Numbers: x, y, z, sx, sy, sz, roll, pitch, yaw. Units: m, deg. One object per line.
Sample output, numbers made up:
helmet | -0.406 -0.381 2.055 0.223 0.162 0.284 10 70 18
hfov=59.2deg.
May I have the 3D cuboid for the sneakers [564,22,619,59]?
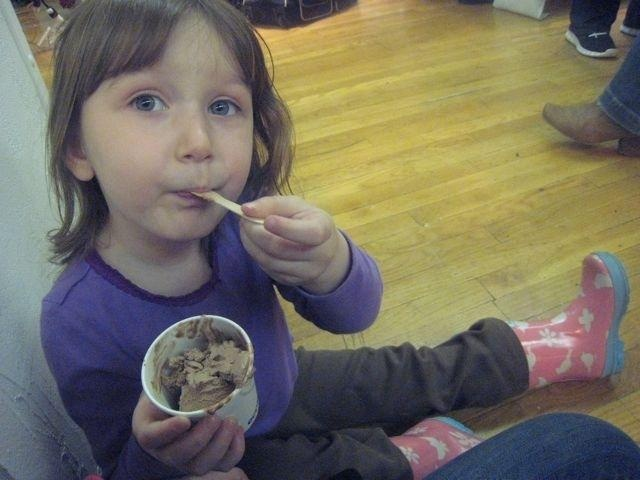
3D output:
sneakers | 1.285 -0.952 2.680 0.267 0.166 0.196 4 32 17
